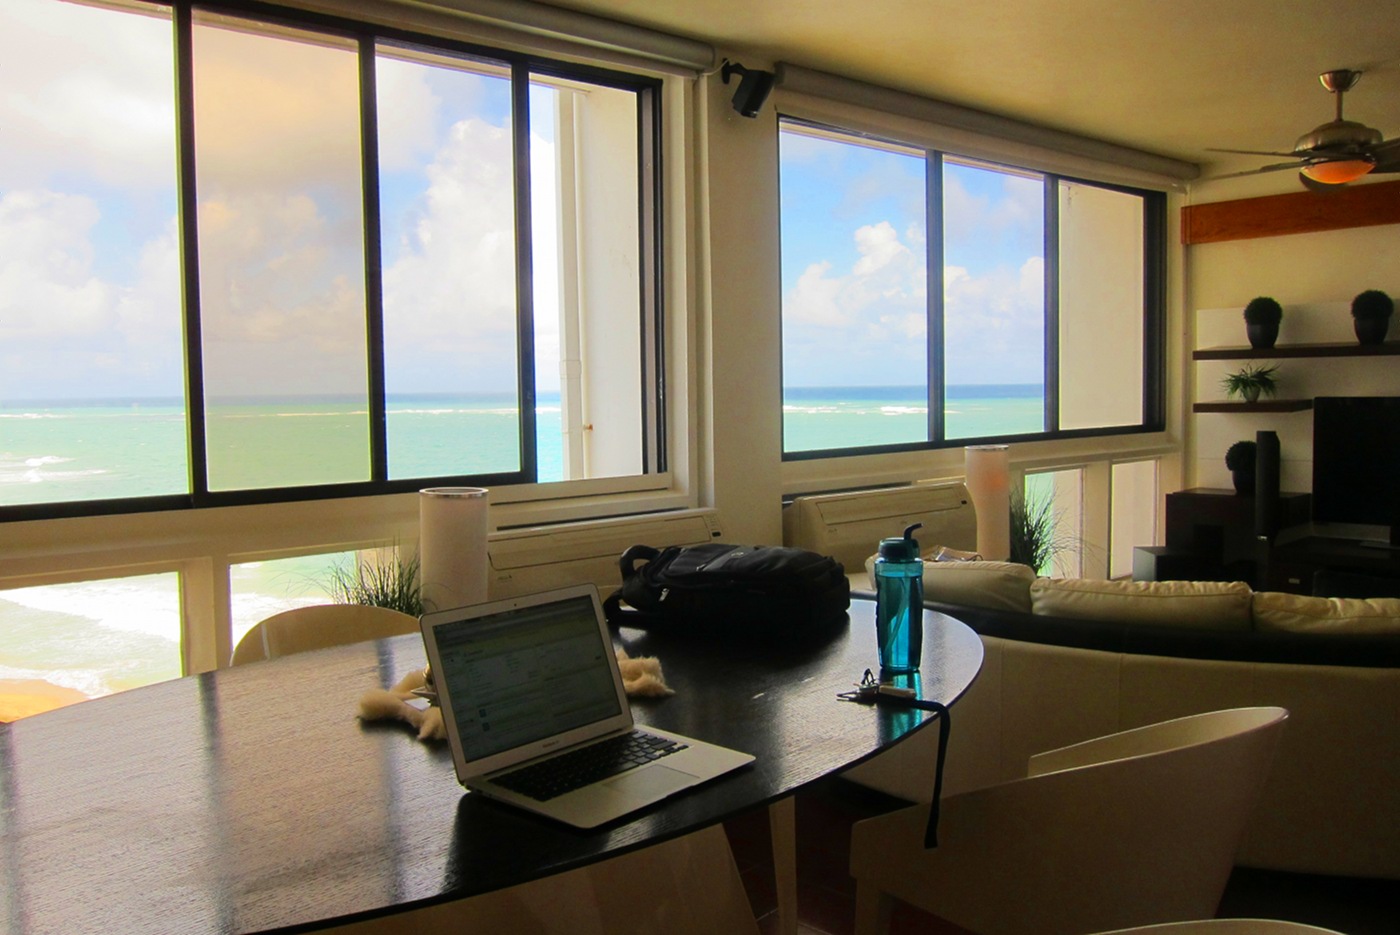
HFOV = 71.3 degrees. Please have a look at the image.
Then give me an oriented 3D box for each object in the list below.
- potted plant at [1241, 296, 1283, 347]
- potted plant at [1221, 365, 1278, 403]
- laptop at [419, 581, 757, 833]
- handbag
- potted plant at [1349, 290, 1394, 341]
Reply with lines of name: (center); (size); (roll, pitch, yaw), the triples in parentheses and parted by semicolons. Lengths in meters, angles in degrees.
potted plant: (4.009, -1.030, 6.975); (0.220, 0.356, 0.183); (-1, 6, 28)
potted plant: (3.987, -0.602, 7.038); (0.272, 0.149, 0.267); (1, 7, 25)
laptop: (-0.247, 0.386, 1.947); (0.494, 0.305, 0.501); (2, 6, 45)
handbag: (0.088, 0.348, 2.680); (0.438, 0.149, 0.344); (0, -2, 19)
potted plant: (4.505, -1.003, 6.561); (0.211, 0.364, 0.139); (0, 7, 29)
